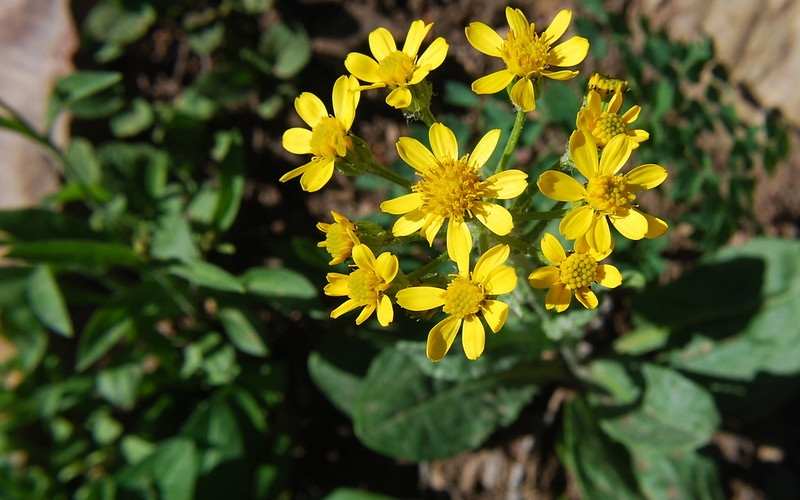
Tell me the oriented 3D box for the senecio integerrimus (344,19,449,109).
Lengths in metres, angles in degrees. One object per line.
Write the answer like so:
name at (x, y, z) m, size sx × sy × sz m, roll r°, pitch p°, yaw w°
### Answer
senecio integerrimus at (-0.018, -0.613, 2.248) m, size 0.233 × 0.071 × 0.294 m, roll 44°, pitch 86°, yaw 7°

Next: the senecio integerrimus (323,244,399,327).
senecio integerrimus at (-0.067, 0.080, 2.169) m, size 0.214 × 0.221 × 0.088 m, roll 35°, pitch 106°, yaw 14°

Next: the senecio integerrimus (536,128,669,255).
senecio integerrimus at (0.666, -0.182, 2.209) m, size 0.459 × 0.451 × 0.107 m, roll 8°, pitch 60°, yaw -33°

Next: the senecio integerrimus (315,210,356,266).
senecio integerrimus at (-0.197, -0.037, 2.216) m, size 0.151 × 0.068 × 0.157 m, roll 13°, pitch 90°, yaw 2°

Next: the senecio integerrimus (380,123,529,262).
senecio integerrimus at (0.173, -0.175, 2.203) m, size 0.436 × 0.467 × 0.156 m, roll 13°, pitch 47°, yaw -8°
